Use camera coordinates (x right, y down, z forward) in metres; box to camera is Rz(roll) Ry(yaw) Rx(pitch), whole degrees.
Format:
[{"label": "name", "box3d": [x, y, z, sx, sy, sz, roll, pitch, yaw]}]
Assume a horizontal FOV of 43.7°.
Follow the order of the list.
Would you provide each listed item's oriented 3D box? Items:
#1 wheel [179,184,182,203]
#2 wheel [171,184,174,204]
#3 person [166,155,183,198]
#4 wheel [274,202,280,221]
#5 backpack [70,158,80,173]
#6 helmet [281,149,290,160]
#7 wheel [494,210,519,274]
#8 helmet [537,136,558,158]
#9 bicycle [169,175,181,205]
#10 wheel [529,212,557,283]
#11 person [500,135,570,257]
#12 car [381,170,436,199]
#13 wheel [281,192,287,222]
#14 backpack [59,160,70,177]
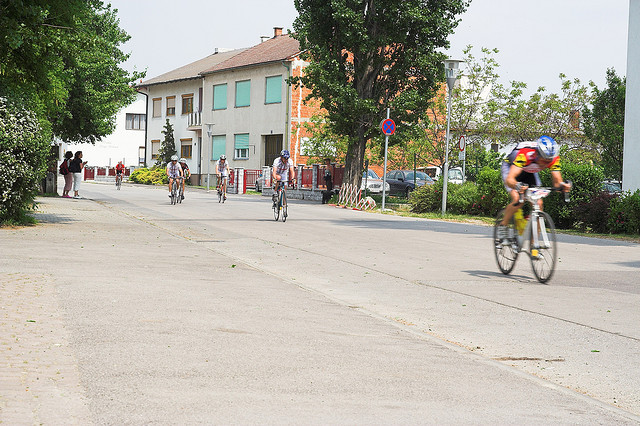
[{"label": "wheel", "box3d": [-5.884, -0.830, 33.549, 0.105, 0.776, 0.476, 1, 9, -9]}, {"label": "wheel", "box3d": [-6.029, -0.791, 32.464, 0.102, 0.774, 0.680, 1, 9, -11]}, {"label": "person", "box3d": [-6.244, -1.499, 33.897, 0.623, 1.548, 2.334, 6, -4, -12]}, {"label": "wheel", "box3d": [-1.342, -0.055, 24.611, 0.164, 0.585, 0.532, 2, 9, -4]}, {"label": "backpack", "box3d": [-10.052, -1.957, 32.535, 0.454, 0.630, 0.387, 2, 8, -4]}, {"label": "helmet", "box3d": [-1.056, -1.839, 24.192, 0.229, 0.165, 0.307, 6, -12, -4]}, {"label": "wheel", "box3d": [3.480, 0.540, 14.917, 0.247, 1.180, 0.859, 1, 9, -11]}, {"label": "helmet", "box3d": [3.899, -1.120, 13.660, 0.328, 0.350, 0.312, 4, 9, 12]}, {"label": "bicycle", "box3d": [-5.942, -0.909, 32.652, 0.327, 0.973, 1.254, 1, 9, -9]}, {"label": "wheel", "box3d": [3.909, 0.603, 13.940, 0.223, 1.236, 0.716, 0, 9, -17]}, {"label": "person", "box3d": [3.734, -0.486, 14.242, 0.840, 1.801, 1.246, -4, 11, -39]}, {"label": "car", "box3d": [5.421, -1.790, 50.184, 1.797, 1.332, 3.847, 0, -1, -39]}, {"label": "wheel", "box3d": [-1.118, -0.203, 24.248, 0.147, 0.926, 0.257, 2, 8, 1]}, {"label": "backpack", "box3d": [-10.649, -1.882, 33.125, 0.646, 0.637, 0.464, 2, -3, -8]}]
